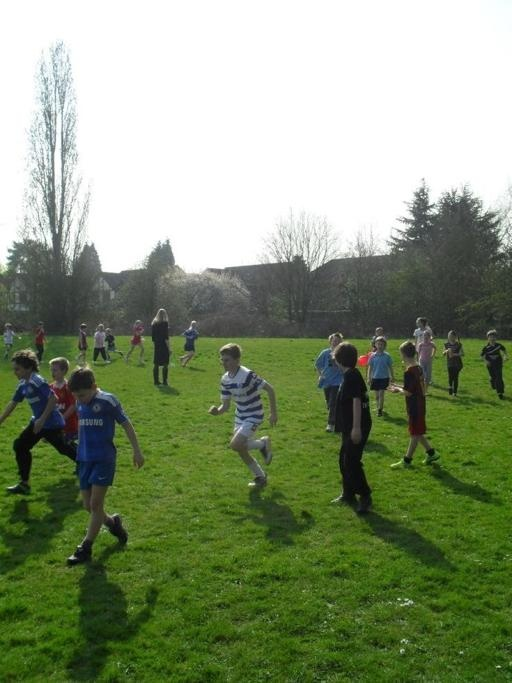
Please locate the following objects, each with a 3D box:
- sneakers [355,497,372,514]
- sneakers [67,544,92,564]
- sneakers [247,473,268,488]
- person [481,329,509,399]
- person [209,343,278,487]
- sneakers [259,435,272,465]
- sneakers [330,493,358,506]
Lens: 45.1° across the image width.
[{"bbox_3d":[1.138,1.719,6.506,0.163,0.135,0.246,1,3,10],"label":"sneakers"},{"bbox_3d":[-1.476,1.772,5.144,0.224,0.186,0.081,4,-7,-38],"label":"sneakers"},{"bbox_3d":[0.012,1.735,7.512,0.172,0.139,0.200,7,-40,-17],"label":"sneakers"},{"bbox_3d":[5.938,0.534,15.370,0.565,1.585,1.635,1,3,23],"label":"person"},{"bbox_3d":[-0.139,0.857,7.919,0.791,1.767,2.484,0,3,-1],"label":"person"},{"bbox_3d":[0.119,1.411,7.871,0.167,0.457,0.154,-8,20,-2],"label":"sneakers"},{"bbox_3d":[0.962,1.734,6.801,0.300,0.172,0.116,4,-9,8],"label":"sneakers"}]
